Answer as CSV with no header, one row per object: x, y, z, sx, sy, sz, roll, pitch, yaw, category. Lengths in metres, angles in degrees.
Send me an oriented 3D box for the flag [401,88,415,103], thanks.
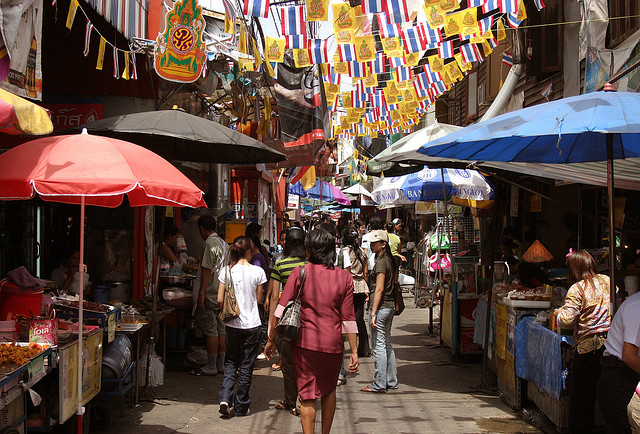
2.132,-2.935,14.130,0.232,0.333,0.074,1,3,-11,flag

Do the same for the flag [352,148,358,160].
1.677,-2.941,26.697,0.309,0.424,0.367,1,-5,0,flag

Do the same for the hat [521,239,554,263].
4.064,0.636,10.977,0.404,0.293,0.452,0,-3,-11,hat

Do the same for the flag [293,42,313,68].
-0.323,-2.940,10.518,0.353,0.403,0.021,-2,6,-5,flag

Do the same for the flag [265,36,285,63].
-0.809,-2.994,10.415,0.424,0.399,0.299,1,1,13,flag

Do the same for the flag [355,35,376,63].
0.810,-3.055,10.604,0.342,0.491,0.047,-7,-6,5,flag

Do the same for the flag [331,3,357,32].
0.408,-3.360,9.799,0.401,0.408,0.390,1,1,3,flag

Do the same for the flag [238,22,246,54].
-1.389,-3.198,10.332,0.125,0.493,0.444,1,1,-8,flag

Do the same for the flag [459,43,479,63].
3.217,-3.538,12.554,0.432,0.523,0.056,4,23,43,flag

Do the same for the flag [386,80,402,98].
1.727,-3.045,13.909,0.324,0.347,0.079,3,12,16,flag

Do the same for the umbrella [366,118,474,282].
1.710,-0.206,10.620,2.059,2.596,1.982,2,-3,-39,umbrella

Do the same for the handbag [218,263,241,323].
-1.316,1.127,8.306,0.250,0.769,0.356,0,1,-36,handbag

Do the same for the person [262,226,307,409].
-0.379,1.549,8.490,0.884,2.856,0.704,-1,6,-9,person

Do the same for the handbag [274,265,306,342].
-0.343,1.014,6.789,0.341,0.883,0.246,1,1,-7,handbag

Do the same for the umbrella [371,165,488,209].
2.746,-0.792,13.591,2.871,1.092,3.057,1,-2,11,umbrella

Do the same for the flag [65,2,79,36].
-3.479,-2.815,8.123,0.127,0.467,0.596,0,1,-23,flag

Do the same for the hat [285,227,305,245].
-0.366,0.267,8.406,0.293,0.226,0.427,4,6,-3,hat

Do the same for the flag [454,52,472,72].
3.122,-3.384,12.717,0.282,0.403,0.053,-23,-8,8,flag

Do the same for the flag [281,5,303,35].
-0.471,-3.246,9.625,0.355,0.432,0.340,1,1,-1,flag

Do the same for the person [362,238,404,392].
1.019,1.595,9.543,0.618,2.496,1.108,1,1,4,person

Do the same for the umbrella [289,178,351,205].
0.112,-0.964,24.250,1.617,0.635,1.660,12,-4,-20,umbrella

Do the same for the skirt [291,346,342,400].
-0.048,1.764,6.970,0.658,0.969,0.534,2,-9,-2,skirt

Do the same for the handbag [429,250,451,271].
3.358,1.245,16.246,0.651,0.432,0.902,0,-7,0,handbag

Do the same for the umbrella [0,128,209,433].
-2.731,0.837,7.016,2.035,3.785,1.533,0,1,-41,umbrella

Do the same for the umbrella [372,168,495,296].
2.638,0.560,13.643,2.764,3.844,3.198,-1,-5,15,umbrella

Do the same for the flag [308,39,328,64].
-0.046,-3.032,10.683,0.359,0.406,0.362,1,1,-2,flag

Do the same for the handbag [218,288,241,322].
-1.310,1.161,8.267,0.188,0.465,0.394,0,27,-5,handbag

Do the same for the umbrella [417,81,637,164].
2.703,-1.146,7.330,2.457,0.825,1.979,1,1,37,umbrella
